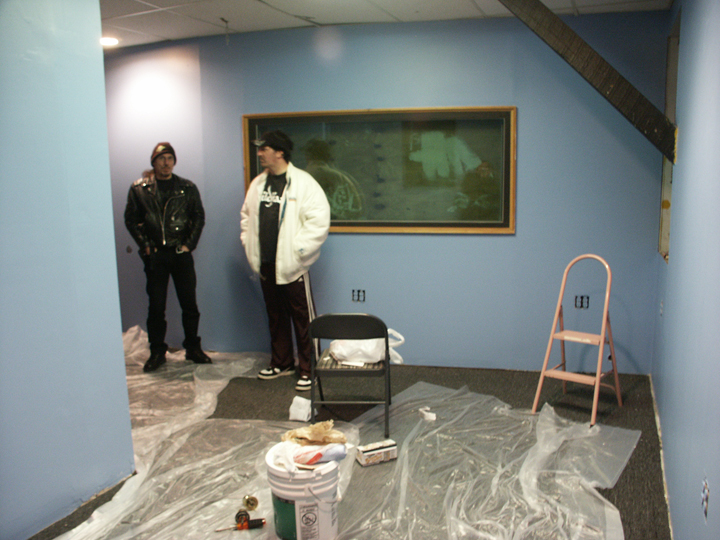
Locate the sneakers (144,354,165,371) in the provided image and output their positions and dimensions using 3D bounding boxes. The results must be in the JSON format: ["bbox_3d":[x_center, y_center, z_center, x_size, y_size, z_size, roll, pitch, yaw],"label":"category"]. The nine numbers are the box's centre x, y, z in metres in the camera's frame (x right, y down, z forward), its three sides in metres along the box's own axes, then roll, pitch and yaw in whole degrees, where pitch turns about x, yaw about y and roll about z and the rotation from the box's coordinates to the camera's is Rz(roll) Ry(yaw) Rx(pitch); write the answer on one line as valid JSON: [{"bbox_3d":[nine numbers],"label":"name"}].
[{"bbox_3d":[-1.943,0.852,5.198,0.133,0.125,0.241,2,14,13],"label":"sneakers"}]

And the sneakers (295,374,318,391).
[{"bbox_3d":[-0.469,0.924,4.691,0.137,0.144,0.320,1,-5,7],"label":"sneakers"}]

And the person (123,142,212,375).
[{"bbox_3d":[-1.793,-0.145,5.205,0.724,2.063,0.567,-7,15,-24],"label":"person"}]

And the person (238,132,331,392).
[{"bbox_3d":[-0.689,-0.122,4.861,0.833,2.154,0.542,6,15,27],"label":"person"}]

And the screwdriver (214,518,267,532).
[{"bbox_3d":[-0.652,1.383,3.004,0.278,0.066,0.068,-3,14,-6],"label":"screwdriver"}]

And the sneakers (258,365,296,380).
[{"bbox_3d":[-0.763,0.930,4.997,0.363,0.143,0.127,3,-2,-34],"label":"sneakers"}]

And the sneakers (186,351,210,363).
[{"bbox_3d":[-1.564,0.840,5.383,0.243,0.108,0.104,1,5,13],"label":"sneakers"}]

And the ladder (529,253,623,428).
[{"bbox_3d":[1.794,0.430,4.424,0.663,1.184,1.258,5,15,24],"label":"ladder"}]

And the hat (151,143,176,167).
[{"bbox_3d":[-1.851,-1.109,5.222,0.208,0.209,0.235,2,14,11],"label":"hat"}]

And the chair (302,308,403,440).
[{"bbox_3d":[-0.073,0.688,4.091,0.616,0.917,0.742,-1,14,2],"label":"chair"}]
